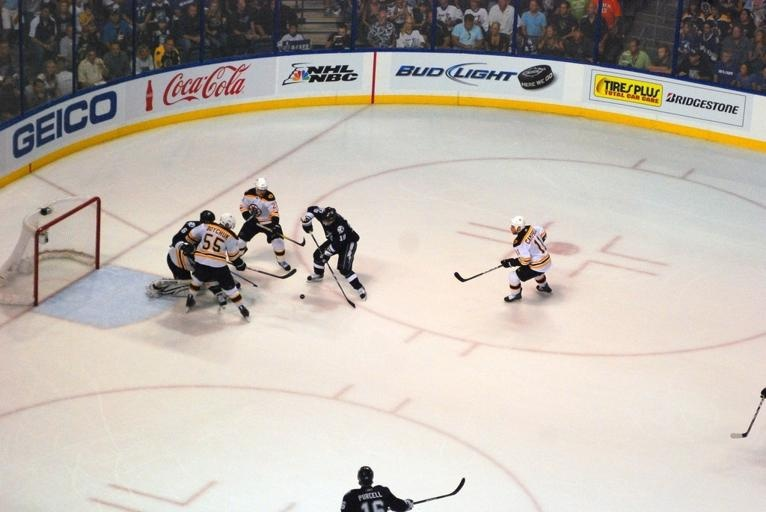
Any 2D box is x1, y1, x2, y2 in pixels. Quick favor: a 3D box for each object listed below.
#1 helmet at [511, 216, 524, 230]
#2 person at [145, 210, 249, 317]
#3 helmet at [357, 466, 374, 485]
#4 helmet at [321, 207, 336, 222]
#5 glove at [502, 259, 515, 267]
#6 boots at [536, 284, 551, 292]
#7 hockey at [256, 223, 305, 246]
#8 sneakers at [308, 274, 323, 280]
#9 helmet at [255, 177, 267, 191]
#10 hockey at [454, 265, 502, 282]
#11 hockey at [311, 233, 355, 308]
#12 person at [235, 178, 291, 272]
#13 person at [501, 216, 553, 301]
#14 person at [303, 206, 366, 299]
[{"bbox_3d":[2.120,-0.512,13.036,0.198,0.188,0.232,10,21,6],"label":"helmet"},{"bbox_3d":[-2.953,0.201,13.219,1.319,1.067,0.930,24,27,19],"label":"person"},{"bbox_3d":[-0.195,2.448,9.254,0.194,0.227,0.236,-1,-8,0],"label":"helmet"},{"bbox_3d":[-0.833,-0.658,13.014,0.173,0.204,0.225,15,23,-21],"label":"helmet"},{"bbox_3d":[2.001,0.104,13.262,0.171,0.167,0.126,-12,52,5],"label":"glove"},{"bbox_3d":[2.627,0.529,13.584,0.105,0.092,0.224,-17,20,-37],"label":"boots"},{"bbox_3d":[-1.700,-0.309,14.084,0.900,0.053,0.307,22,59,-21],"label":"hockey"},{"bbox_3d":[-1.139,0.373,13.774,0.288,0.116,0.090,-1,58,-2],"label":"sneakers"},{"bbox_3d":[-2.001,-1.172,13.793,0.233,0.233,0.264,3,12,-14],"label":"helmet"},{"bbox_3d":[1.512,0.331,13.818,0.441,0.115,0.429,-27,10,-11],"label":"hockey"},{"bbox_3d":[-0.799,0.273,13.483,0.180,0.142,1.531,-3,47,-42],"label":"hockey"},{"bbox_3d":[-2.006,-0.489,13.910,0.991,1.515,0.871,11,24,22],"label":"person"},{"bbox_3d":[2.316,0.068,13.320,0.863,1.420,0.430,-5,25,-29],"label":"person"},{"bbox_3d":[-0.719,-0.122,13.410,0.928,1.512,0.710,5,23,16],"label":"person"}]
